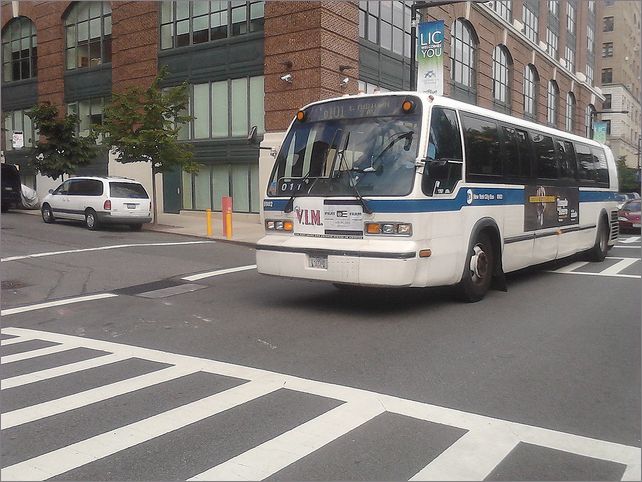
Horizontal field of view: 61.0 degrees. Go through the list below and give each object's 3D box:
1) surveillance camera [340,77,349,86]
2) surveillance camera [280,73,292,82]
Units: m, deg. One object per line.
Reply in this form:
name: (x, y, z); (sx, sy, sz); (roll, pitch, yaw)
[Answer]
surveillance camera: (1.016, -6.973, 23.760); (0.347, 0.131, 0.220); (-21, 17, 1)
surveillance camera: (-1.577, -7.132, 23.772); (0.303, 0.412, 0.555); (-5, 9, -41)
